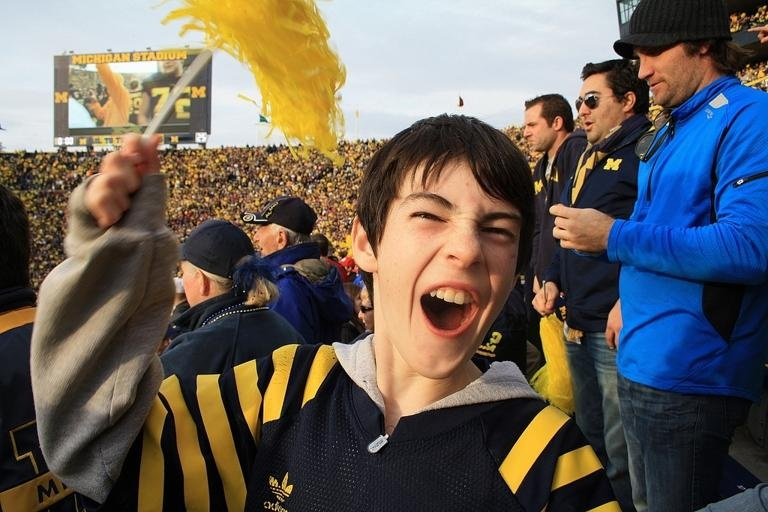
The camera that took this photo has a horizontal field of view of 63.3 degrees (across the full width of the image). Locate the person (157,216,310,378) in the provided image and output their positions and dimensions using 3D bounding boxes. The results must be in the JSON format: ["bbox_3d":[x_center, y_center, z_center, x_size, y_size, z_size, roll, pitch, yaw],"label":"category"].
[{"bbox_3d":[-0.995,0.279,3.770,0.671,0.926,1.361,-8,-6,35],"label":"person"}]

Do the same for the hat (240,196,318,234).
[{"bbox_3d":[-0.810,-0.318,5.466,0.707,0.356,0.458,-3,-12,35],"label":"hat"}]

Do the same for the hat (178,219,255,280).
[{"bbox_3d":[-1.097,-0.095,4.150,0.518,0.330,0.416,16,12,32],"label":"hat"}]
